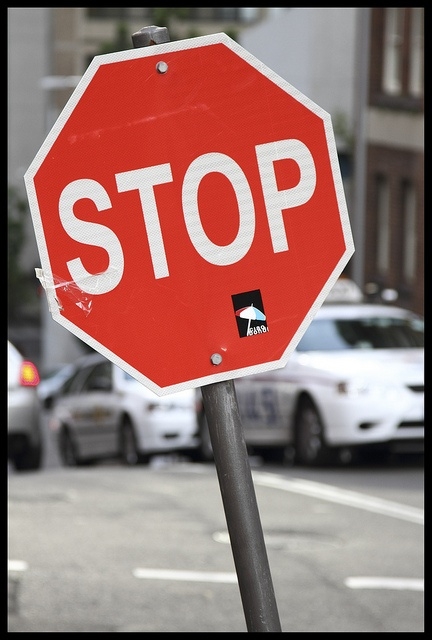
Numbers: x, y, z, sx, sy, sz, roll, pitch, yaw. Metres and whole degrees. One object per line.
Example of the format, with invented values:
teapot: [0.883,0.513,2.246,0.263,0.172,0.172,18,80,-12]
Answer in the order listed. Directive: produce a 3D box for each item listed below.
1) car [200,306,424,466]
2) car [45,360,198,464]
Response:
car: [1.122,0.596,9.638,1.107,0.989,2.368,1,-6,-24]
car: [-1.128,1.037,11.695,1.101,1.058,2.517,1,-8,-24]
